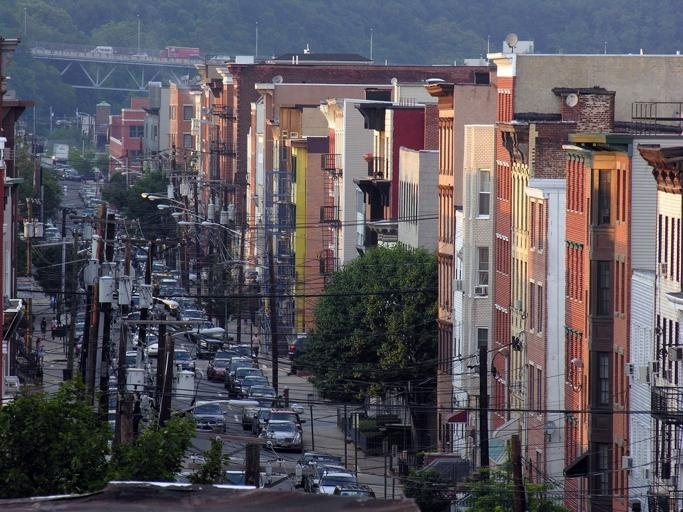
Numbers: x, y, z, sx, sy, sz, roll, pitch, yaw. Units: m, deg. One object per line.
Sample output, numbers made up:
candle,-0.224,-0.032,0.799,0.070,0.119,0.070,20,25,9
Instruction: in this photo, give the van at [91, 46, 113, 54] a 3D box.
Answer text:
van,-54.524,-46.711,511.328,4.153,1.944,2.488,3,-1,2
